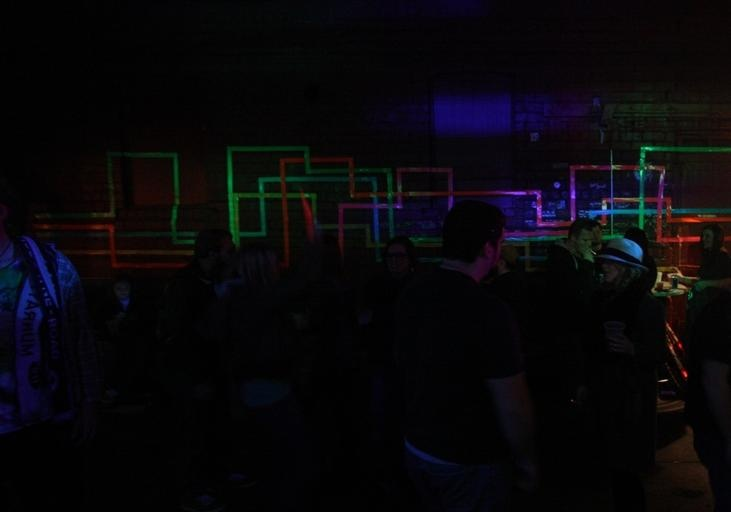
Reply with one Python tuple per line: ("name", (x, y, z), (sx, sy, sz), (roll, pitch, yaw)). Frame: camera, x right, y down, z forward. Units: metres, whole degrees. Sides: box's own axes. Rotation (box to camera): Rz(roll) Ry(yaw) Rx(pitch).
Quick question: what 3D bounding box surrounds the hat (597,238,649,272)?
("hat", (2.653, -0.040, 7.795), (0.451, 0.161, 0.337), (15, -1, 4))
